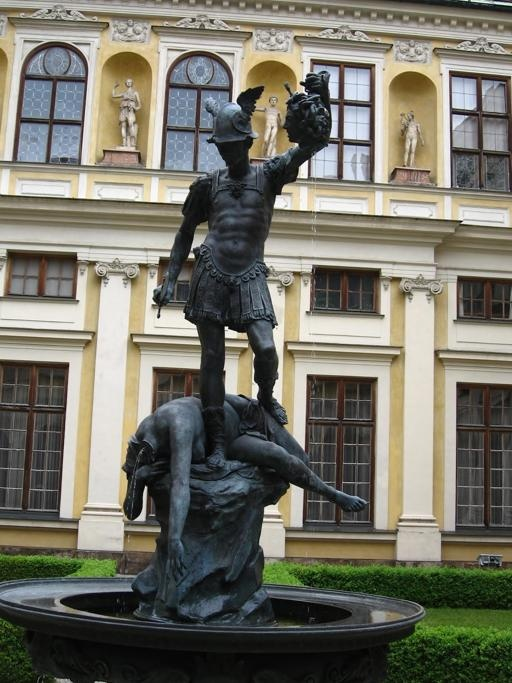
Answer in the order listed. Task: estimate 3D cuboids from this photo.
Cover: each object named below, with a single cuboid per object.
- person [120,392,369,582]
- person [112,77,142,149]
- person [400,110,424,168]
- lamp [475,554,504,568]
[{"bbox_3d":[-0.148,0.776,5.943,1.375,0.822,0.827,3,0,-19],"label":"person"},{"bbox_3d":[-2.175,-3.763,16.809,0.484,1.365,0.596,3,-10,-13],"label":"person"},{"bbox_3d":[2.643,-3.429,17.215,0.375,1.143,0.569,0,-10,9],"label":"person"},{"bbox_3d":[3.555,3.348,15.471,0.214,0.135,0.267,2,-17,-2],"label":"lamp"}]
